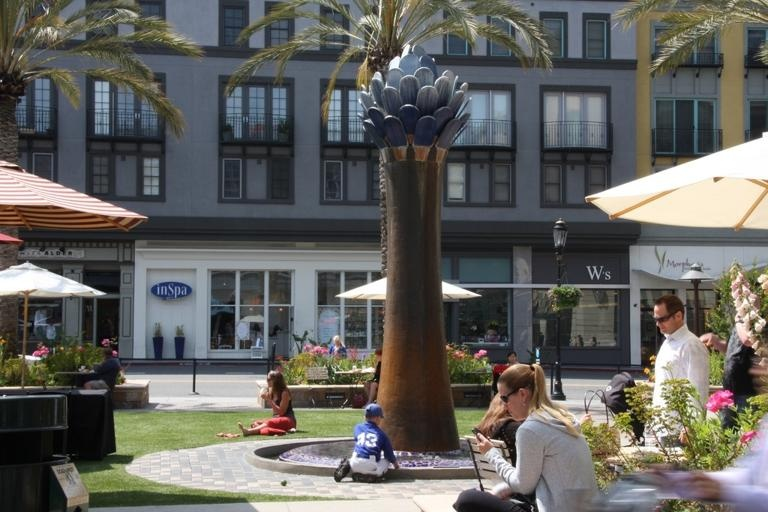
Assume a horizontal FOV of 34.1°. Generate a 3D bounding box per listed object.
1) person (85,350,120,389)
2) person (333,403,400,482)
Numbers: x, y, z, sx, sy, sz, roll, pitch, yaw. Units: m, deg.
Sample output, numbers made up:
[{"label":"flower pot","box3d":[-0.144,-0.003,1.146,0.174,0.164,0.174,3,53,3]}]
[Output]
[{"label":"person","box3d":[-8.496,3.475,37.760,0.740,0.498,1.172,6,37,-3]},{"label":"person","box3d":[-0.437,4.555,30.468,1.470,1.848,0.441,-1,-6,-2]}]
